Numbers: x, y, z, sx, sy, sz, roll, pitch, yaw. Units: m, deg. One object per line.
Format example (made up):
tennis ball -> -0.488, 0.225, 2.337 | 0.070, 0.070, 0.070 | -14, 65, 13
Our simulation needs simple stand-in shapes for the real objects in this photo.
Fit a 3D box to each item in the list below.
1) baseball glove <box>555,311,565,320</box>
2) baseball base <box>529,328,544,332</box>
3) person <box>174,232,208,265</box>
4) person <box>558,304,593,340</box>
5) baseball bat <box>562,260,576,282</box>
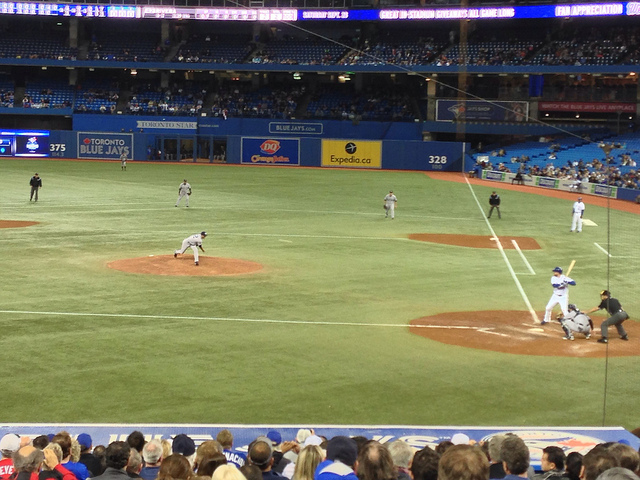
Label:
baseball glove -> 8.566, 2.688, 33.792 | 0.287, 0.122, 0.368 | -1, 8, 4
baseball base -> 7.473, 3.115, 32.687 | 0.477, 0.045, 0.377 | 3, 10, 7
person -> -5.398, 0.235, 39.653 | 1.369, 1.531, 0.849 | 16, 27, 16
person -> 8.743, 2.750, 32.315 | 1.223, 1.048, 1.254 | -9, 11, -20
baseball bat -> 10.162, 1.302, 38.699 | 0.188, 1.061, 0.078 | 20, 27, -49
